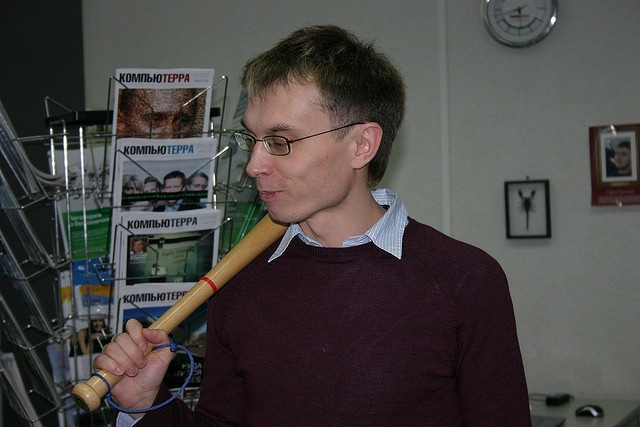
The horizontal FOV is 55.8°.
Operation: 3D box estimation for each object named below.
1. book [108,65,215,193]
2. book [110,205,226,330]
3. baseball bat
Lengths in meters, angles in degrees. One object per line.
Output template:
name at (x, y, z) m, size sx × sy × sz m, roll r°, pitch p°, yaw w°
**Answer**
book at (-0.600, -0.310, 2.284) m, size 0.479 × 0.500 × 0.023 m, roll 0°, pitch 10°, yaw -14°
book at (-0.577, 0.192, 2.243) m, size 0.473 × 0.564 × 0.075 m, roll 0°, pitch 3°, yaw -30°
baseball bat at (-0.474, 0.338, 2.090) m, size 1.064 × 0.153 × 0.159 m, roll -39°, pitch -13°, yaw -15°
